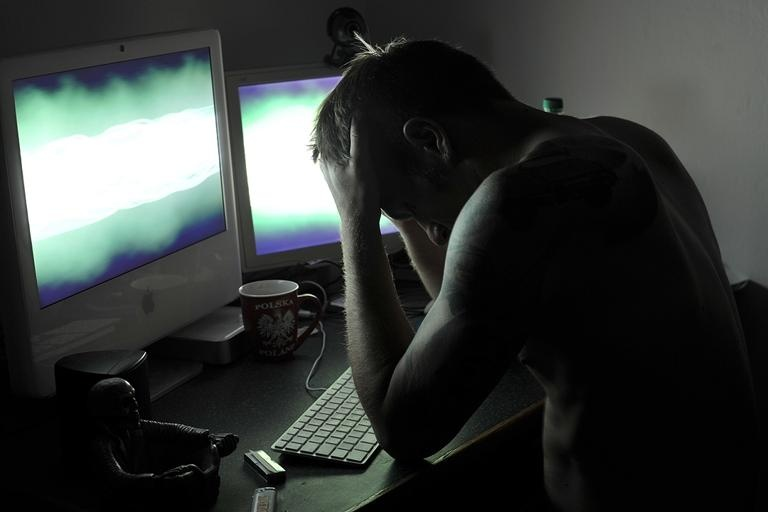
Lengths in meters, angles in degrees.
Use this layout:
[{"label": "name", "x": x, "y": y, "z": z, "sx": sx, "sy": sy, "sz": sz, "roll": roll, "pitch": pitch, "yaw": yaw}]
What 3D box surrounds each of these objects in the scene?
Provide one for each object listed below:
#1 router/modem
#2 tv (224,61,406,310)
[{"label": "router/modem", "x": -0.382, "y": 0.169, "z": 1.415, "sx": 0.160, "sy": 0.096, "sz": 0.211, "roll": 5, "pitch": 20, "yaw": 11}, {"label": "tv", "x": -0.181, "y": -0.201, "z": 1.475, "sx": 0.414, "sy": 0.561, "sz": 0.133, "roll": -13, "pitch": 25, "yaw": -37}]
